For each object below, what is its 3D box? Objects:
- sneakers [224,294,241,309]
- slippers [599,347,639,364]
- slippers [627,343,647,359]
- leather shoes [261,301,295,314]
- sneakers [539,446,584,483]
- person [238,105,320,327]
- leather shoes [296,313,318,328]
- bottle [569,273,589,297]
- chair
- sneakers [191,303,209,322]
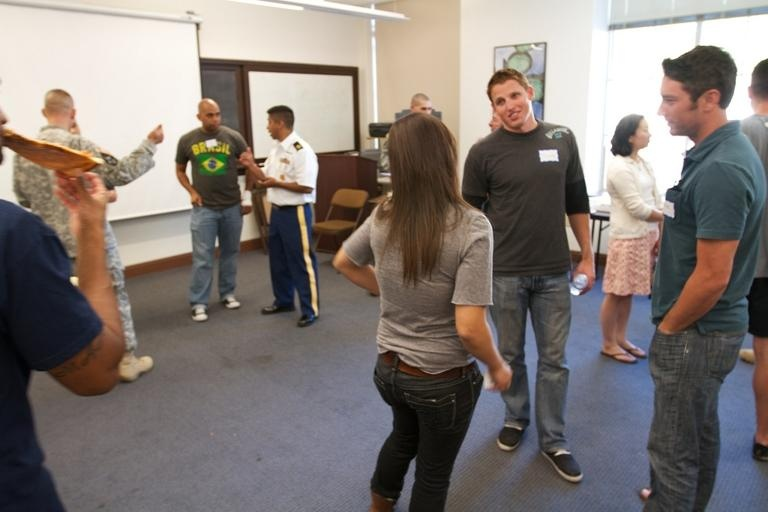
[{"bbox_3d":[-1.511,0.453,5.420,0.096,0.090,0.223,-2,1,-30],"label":"sneakers"},{"bbox_3d":[1.798,0.735,4.177,0.238,0.112,0.093,6,22,44],"label":"slippers"},{"bbox_3d":[1.938,0.731,4.250,0.075,0.077,0.192,-14,15,-33],"label":"slippers"},{"bbox_3d":[-1.018,0.500,5.276,0.336,0.143,0.114,4,-5,-23],"label":"leather shoes"},{"bbox_3d":[1.020,1.165,3.155,0.125,0.123,0.335,-6,13,-16],"label":"sneakers"},{"bbox_3d":[-0.874,-0.348,4.904,0.568,1.874,0.741,-4,20,-6],"label":"person"},{"bbox_3d":[-0.701,0.596,4.941,0.075,0.086,0.209,-1,0,20],"label":"leather shoes"},{"bbox_3d":[1.171,0.172,3.303,0.111,0.144,0.042,18,20,12],"label":"bottle"},{"bbox_3d":[-0.552,-0.367,6.655,0.639,0.835,0.682,5,16,25],"label":"chair"},{"bbox_3d":[-1.731,0.521,5.109,0.150,0.128,0.213,-9,21,-19],"label":"sneakers"}]
